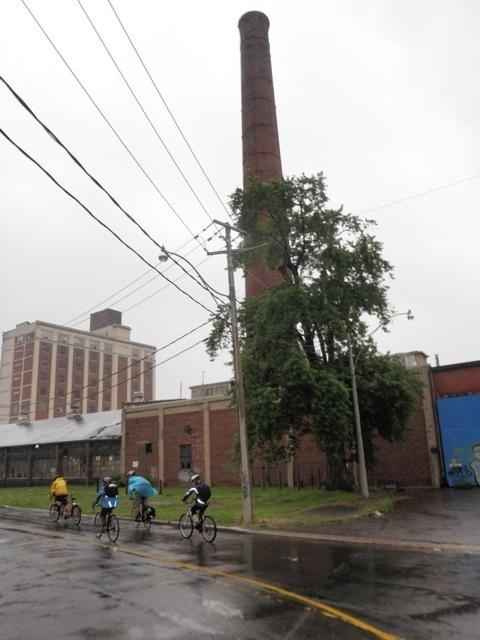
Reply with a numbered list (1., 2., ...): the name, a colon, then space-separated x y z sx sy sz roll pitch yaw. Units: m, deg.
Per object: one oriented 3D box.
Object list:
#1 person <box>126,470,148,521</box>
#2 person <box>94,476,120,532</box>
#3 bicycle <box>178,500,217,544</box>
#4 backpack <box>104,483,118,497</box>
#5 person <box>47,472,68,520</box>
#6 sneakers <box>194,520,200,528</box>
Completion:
1. person: -3.487 5.905 16.080 0.588 1.581 1.465 -1 -16 -13
2. person: -3.657 5.208 13.390 0.527 1.249 1.849 -3 -8 -29
3. bicycle: -0.986 5.604 13.355 0.883 1.070 1.767 5 -19 -34
4. backpack: -3.579 4.749 13.360 0.310 0.414 0.401 1 -10 -4
5. person: -7.118 6.868 18.748 0.635 1.501 2.797 1 -16 -20
6. sneakers: -1.136 5.375 12.633 0.091 0.198 0.279 0 -16 -17
